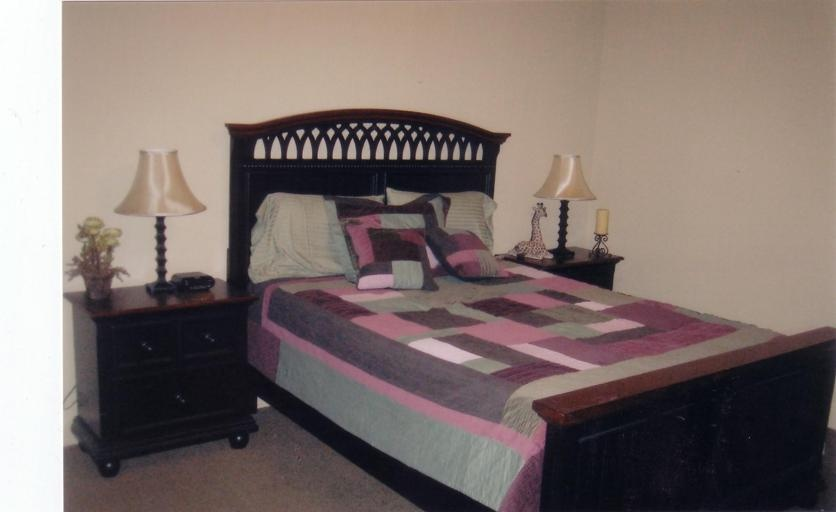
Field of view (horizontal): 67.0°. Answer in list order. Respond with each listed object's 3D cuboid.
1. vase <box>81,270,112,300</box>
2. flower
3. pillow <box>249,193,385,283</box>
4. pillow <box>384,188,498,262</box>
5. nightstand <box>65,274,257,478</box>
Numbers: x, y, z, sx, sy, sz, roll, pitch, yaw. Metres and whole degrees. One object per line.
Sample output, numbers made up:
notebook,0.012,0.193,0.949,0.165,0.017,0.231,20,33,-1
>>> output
vase,-1.715,0.156,3.400,0.140,0.150,0.147,-6,12,-25
flower,-1.719,-0.080,3.375,0.406,0.316,0.360,-4,9,-39
pillow,-0.718,-0.095,3.806,0.590,0.565,0.145,-4,-10,-24
pillow,0.120,-0.192,4.032,0.604,0.527,0.156,1,0,2
nightstand,-1.538,0.705,3.660,0.674,0.851,0.946,-3,-2,42
